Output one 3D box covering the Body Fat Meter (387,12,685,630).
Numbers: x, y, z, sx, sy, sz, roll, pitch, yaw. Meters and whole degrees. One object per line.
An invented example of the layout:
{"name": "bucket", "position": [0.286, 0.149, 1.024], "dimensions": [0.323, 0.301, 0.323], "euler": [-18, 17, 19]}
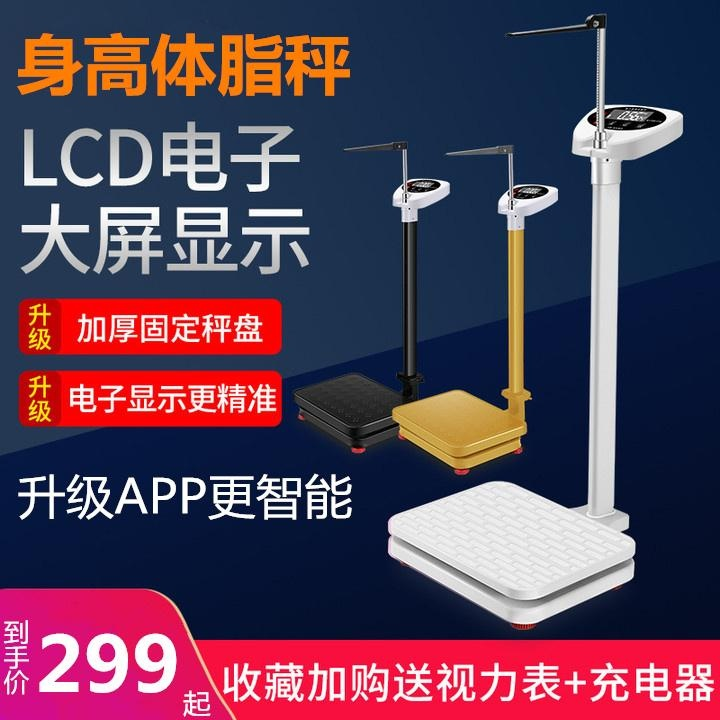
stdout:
{"name": "Body Fat Meter", "position": [0.487, -0.216, 2.910], "dimensions": [1.255, 1.653, 0.835], "euler": [-2, 3, -12]}
